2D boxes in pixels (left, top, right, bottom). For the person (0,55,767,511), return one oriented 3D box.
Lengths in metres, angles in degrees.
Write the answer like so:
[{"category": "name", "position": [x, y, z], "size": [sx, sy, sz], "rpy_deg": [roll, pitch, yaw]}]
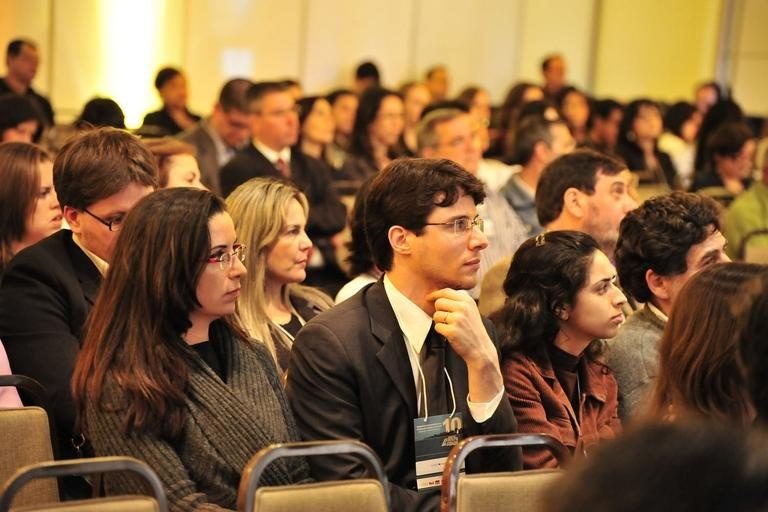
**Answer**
[{"category": "person", "position": [0.037, 0.276, 3.055], "size": [2.251, 1.343, 0.694], "rpy_deg": [-2, 9, -28]}]
